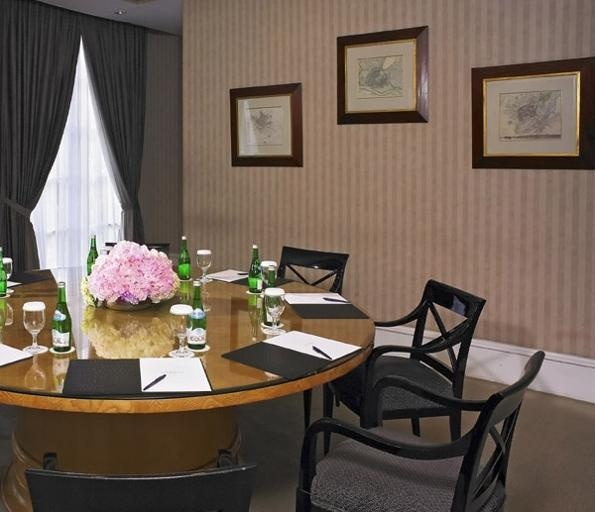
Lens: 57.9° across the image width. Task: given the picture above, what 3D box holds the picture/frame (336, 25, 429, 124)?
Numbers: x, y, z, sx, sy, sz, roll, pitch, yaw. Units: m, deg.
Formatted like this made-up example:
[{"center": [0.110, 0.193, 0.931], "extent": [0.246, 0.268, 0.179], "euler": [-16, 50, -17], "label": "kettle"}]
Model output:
[{"center": [0.719, -1.499, 4.385], "extent": [0.698, 0.826, 0.058], "euler": [4, 8, 33], "label": "picture/frame"}]

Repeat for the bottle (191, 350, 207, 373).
[{"center": [-0.373, 0.405, 2.062], "extent": [0.050, 0.068, 0.050], "euler": [-1, 4, 0], "label": "bottle"}]

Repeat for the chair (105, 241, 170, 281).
[{"center": [-0.766, 0.025, 2.561], "extent": [0.211, 0.149, 0.183], "euler": [16, 10, 15], "label": "chair"}]

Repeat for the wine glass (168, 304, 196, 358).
[{"center": [-0.459, 0.269, 2.115], "extent": [0.088, 0.224, 0.288], "euler": [-2, 12, -13], "label": "wine glass"}]

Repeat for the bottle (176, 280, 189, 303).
[{"center": [-0.639, 0.202, 2.990], "extent": [0.047, 0.198, 0.053], "euler": [-2, 16, -14], "label": "bottle"}]

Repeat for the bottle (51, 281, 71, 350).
[{"center": [-0.956, 0.228, 2.165], "extent": [0.073, 0.256, 0.265], "euler": [-4, 12, -23], "label": "bottle"}]

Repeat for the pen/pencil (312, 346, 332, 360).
[{"center": [0.095, 0.387, 2.143], "extent": [0.025, 0.011, 0.120], "euler": [-8, 20, -20], "label": "pen/pencil"}]

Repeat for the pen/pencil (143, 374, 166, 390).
[{"center": [-0.485, 0.431, 1.830], "extent": [0.019, 0.013, 0.090], "euler": [21, 23, 14], "label": "pen/pencil"}]

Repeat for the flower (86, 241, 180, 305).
[{"center": [-0.808, 0.095, 2.592], "extent": [0.309, 0.258, 0.302], "euler": [-2, -3, 35], "label": "flower"}]

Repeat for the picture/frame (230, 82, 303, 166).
[{"center": [-0.263, -1.242, 5.022], "extent": [0.674, 0.842, 0.033], "euler": [3, 7, 33], "label": "picture/frame"}]

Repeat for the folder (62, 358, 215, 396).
[{"center": [-0.562, 0.423, 1.889], "extent": [0.534, 0.018, 0.297], "euler": [-1, 12, -5], "label": "folder"}]
